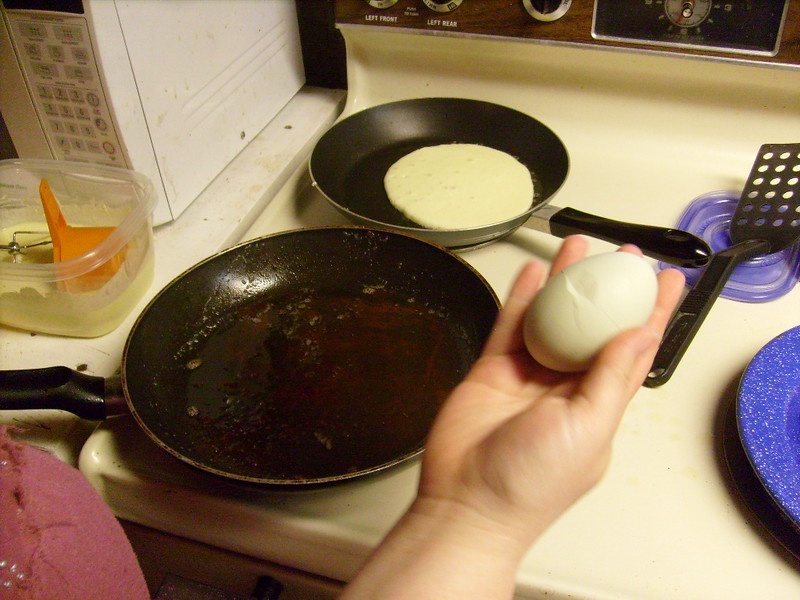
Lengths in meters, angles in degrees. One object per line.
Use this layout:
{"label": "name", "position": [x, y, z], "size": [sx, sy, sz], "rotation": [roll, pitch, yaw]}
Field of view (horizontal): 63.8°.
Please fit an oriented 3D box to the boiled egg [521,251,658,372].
{"label": "boiled egg", "position": [0.212, 0.014, 0.774], "size": [0.169, 0.098, 0.107], "rotation": [-36, 85, -10]}
